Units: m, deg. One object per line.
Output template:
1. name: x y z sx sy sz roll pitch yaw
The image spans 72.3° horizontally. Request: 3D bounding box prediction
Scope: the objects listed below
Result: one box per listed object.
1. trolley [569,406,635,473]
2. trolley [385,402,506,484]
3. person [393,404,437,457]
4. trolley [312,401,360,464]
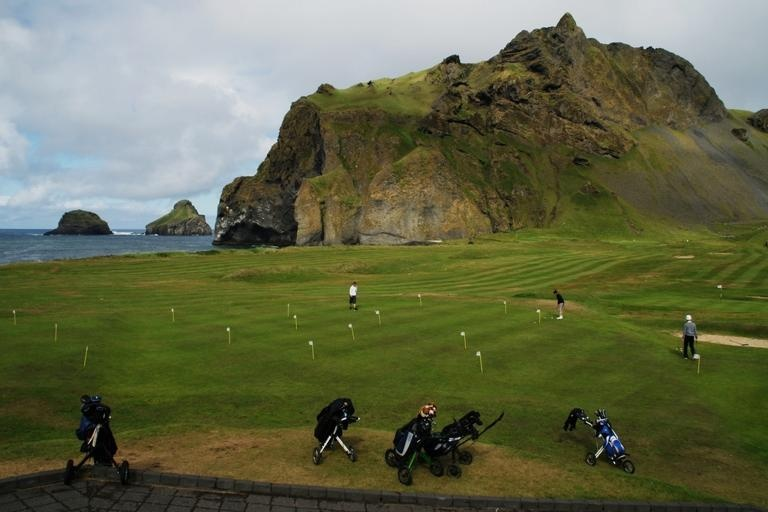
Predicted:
1. trolley: 9.745 7.855 23.180 2.151 2.418 2.818 -5 16 -19
2. trolley: 2.199 7.942 22.472 5.461 2.180 2.706 -3 -3 3
3. person: 1.274 7.198 21.729 1.634 2.030 0.757 -3 16 -12
4. trolley: -2.121 7.306 22.410 1.820 2.676 1.647 -1 16 -6
